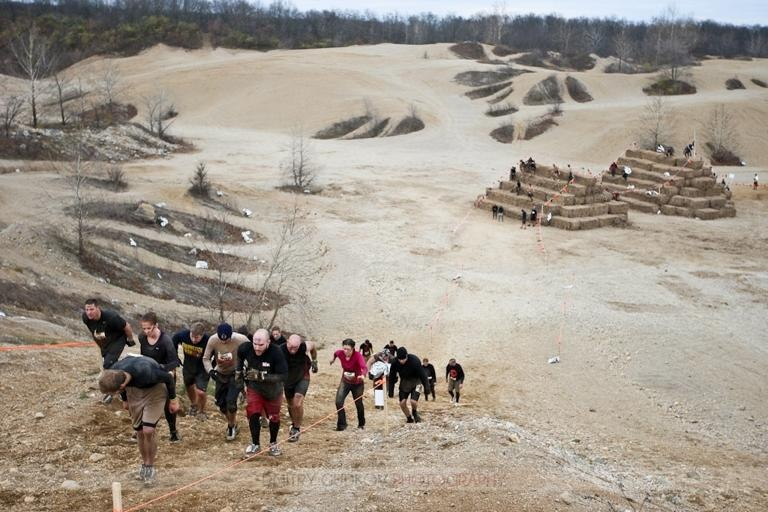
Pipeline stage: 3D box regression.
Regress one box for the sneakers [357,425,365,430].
[{"bbox_3d":[-0.679,5.404,25.767,0.156,0.143,0.160,3,-17,-9],"label":"sneakers"}]
